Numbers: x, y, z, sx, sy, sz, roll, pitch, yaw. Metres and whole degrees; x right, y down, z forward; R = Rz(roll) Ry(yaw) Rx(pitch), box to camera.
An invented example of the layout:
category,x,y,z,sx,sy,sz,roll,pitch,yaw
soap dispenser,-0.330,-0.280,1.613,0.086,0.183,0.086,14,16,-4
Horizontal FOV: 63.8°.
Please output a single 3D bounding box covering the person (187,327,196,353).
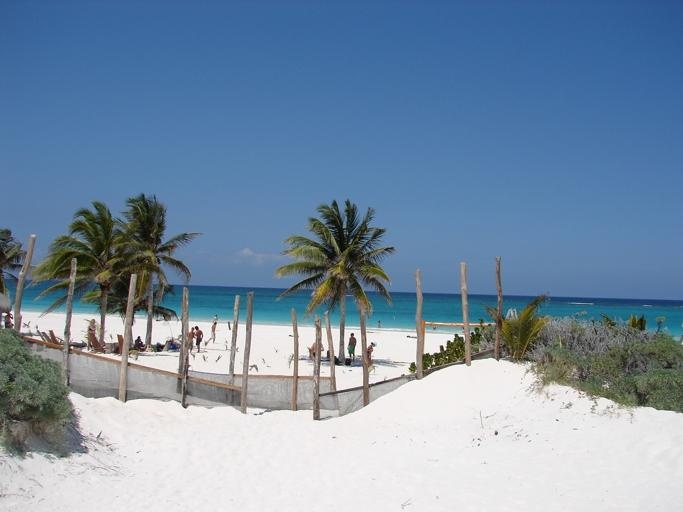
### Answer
category,x,y,z,sx,sy,sz,roll,pitch,yaw
person,-7.852,4.442,28.480,0.224,1.050,1.875,1,-2,-17
